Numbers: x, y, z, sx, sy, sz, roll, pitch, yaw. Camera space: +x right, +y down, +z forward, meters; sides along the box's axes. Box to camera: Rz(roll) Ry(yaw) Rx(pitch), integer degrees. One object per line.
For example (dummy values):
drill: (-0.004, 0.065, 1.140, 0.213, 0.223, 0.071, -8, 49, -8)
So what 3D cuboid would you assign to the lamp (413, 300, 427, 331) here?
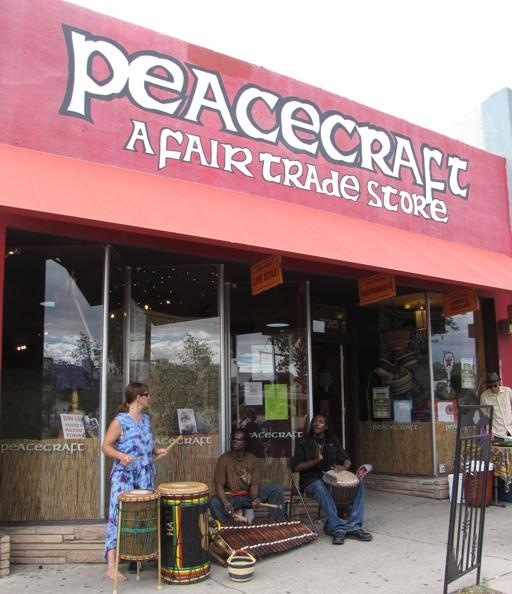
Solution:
lamp: (2.514, 0.304, 8.411, 0.048, 0.414, 0.202, 4, -11, -38)

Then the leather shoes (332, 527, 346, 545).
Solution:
leather shoes: (0.788, 2.313, 5.267, 0.123, 0.104, 0.188, -4, -8, 10)

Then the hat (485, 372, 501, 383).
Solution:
hat: (3.539, 1.225, 8.217, 0.227, 0.169, 0.311, -11, -5, 23)

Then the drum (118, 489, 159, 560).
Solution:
drum: (-0.858, 1.687, 4.037, 0.200, 0.483, 0.293, -8, -10, 35)

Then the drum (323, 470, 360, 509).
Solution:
drum: (0.867, 1.949, 5.587, 0.366, 0.345, 0.359, 2, -4, -2)

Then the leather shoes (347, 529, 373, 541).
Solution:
leather shoes: (1.021, 2.333, 5.423, 0.255, 0.107, 0.099, -3, -5, 30)

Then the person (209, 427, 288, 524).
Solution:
person: (-0.108, 1.782, 5.455, 0.489, 0.866, 0.765, -10, -12, 44)

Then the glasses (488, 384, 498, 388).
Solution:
glasses: (3.544, 1.329, 8.174, 0.084, 0.031, 0.087, -14, -51, 36)
